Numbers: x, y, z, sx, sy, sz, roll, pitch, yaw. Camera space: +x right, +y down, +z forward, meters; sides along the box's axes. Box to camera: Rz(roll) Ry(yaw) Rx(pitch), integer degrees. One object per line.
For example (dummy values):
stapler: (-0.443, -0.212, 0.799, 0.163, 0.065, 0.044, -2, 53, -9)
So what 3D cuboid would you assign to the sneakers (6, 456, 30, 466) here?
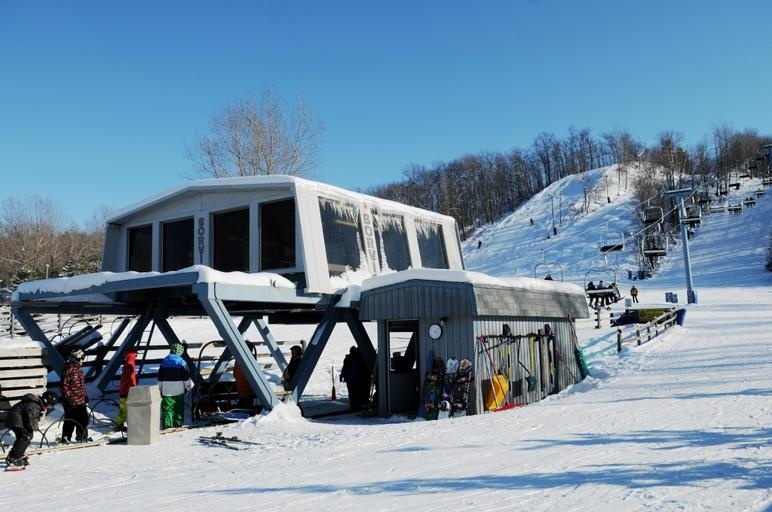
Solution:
sneakers: (-8.390, 4.737, 15.116, 0.582, 0.251, 0.190, 3, -3, -14)

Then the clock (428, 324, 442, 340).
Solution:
clock: (1.447, 2.301, 19.628, 0.462, 0.456, 0.108, -7, -5, 34)

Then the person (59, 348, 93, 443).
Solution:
person: (-8.147, 3.707, 17.143, 0.661, 2.362, 0.707, -2, -5, -26)

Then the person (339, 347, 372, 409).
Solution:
person: (-0.983, 4.073, 21.673, 1.038, 2.084, 0.819, -3, -4, -14)

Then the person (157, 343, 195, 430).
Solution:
person: (-5.923, 3.819, 18.443, 0.858, 2.060, 0.704, -3, -5, -19)
